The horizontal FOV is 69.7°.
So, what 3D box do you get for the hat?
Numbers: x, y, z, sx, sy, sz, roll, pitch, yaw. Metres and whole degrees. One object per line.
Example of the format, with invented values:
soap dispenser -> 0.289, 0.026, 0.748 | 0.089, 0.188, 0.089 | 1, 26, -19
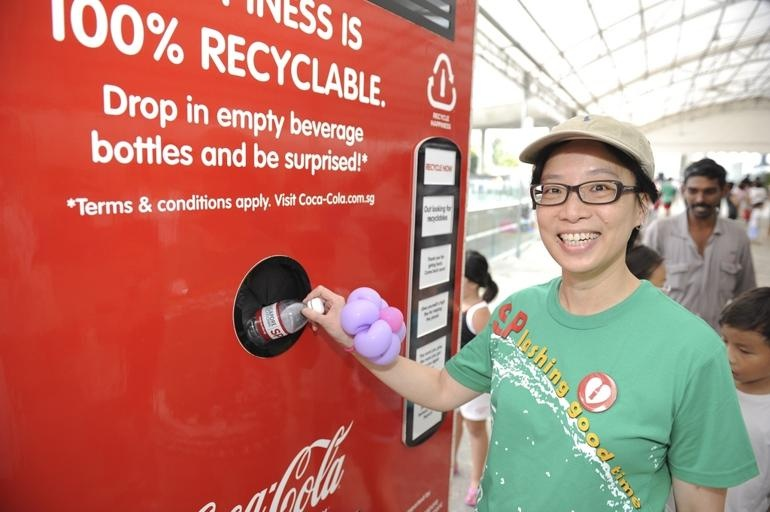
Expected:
hat -> 0.640, -0.277, 1.678 | 0.299, 0.127, 0.228 | 13, 1, -30
